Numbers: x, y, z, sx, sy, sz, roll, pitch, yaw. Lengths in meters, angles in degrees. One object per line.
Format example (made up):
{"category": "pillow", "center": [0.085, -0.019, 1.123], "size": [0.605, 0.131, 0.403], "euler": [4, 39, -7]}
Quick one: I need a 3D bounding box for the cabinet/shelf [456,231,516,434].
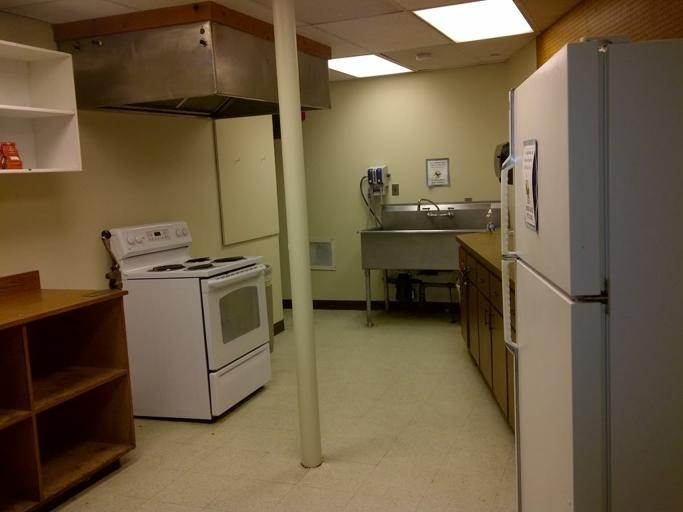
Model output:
{"category": "cabinet/shelf", "center": [0.958, 0.533, 3.603], "size": [0.355, 0.715, 1.110], "euler": [1, 11, 10]}

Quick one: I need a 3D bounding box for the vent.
{"category": "vent", "center": [-0.970, -1.306, 4.000], "size": [1.116, 0.441, 1.653], "euler": [2, 11, 31]}
